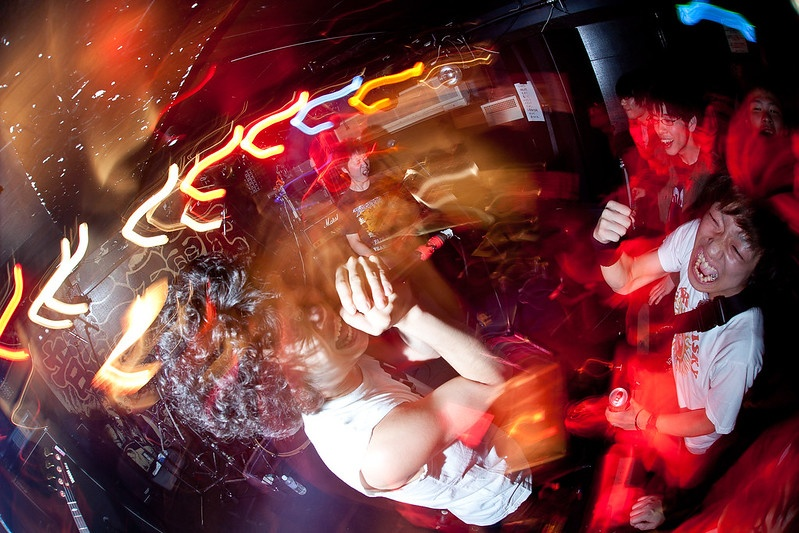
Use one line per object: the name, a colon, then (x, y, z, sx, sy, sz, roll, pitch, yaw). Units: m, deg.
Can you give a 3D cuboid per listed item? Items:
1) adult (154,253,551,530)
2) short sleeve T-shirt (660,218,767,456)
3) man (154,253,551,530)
adult: (-0.171, 1.107, 3.372, 1.823, 2.894, 0.697, -12, 30, 19)
short sleeve T-shirt: (2.342, 0.552, 3.796, 0.501, 1.113, 1.546, -7, 52, 13)
man: (-0.269, 0.872, 3.577, 2.884, 1.285, 1.112, 9, 25, -34)
